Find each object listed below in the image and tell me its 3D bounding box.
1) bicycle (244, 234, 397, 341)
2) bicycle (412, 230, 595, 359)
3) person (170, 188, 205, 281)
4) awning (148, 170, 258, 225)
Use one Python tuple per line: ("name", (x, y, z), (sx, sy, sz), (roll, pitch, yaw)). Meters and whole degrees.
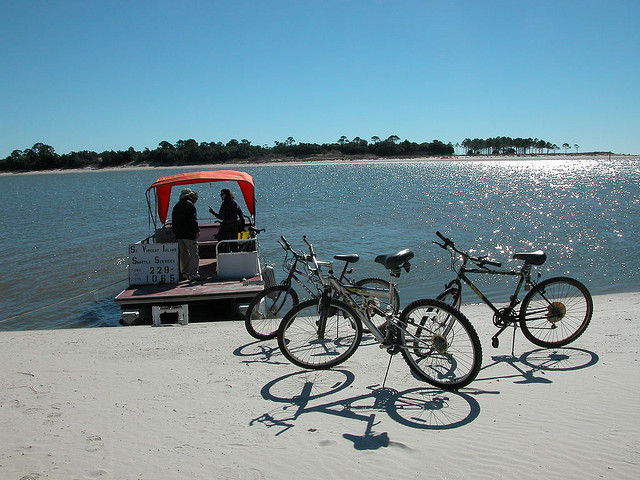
("bicycle", (0.030, 0.764, 7.359), (2.429, 1.264, 1.010), (-7, -27, 25))
("bicycle", (2.210, 0.794, 6.581), (2.824, 1.443, 1.193), (-8, 15, -19))
("person", (-3.043, -0.097, 11.787), (0.618, 2.064, 0.798), (-4, 7, -15))
("awning", (-3.291, -1.575, 14.445), (2.593, 1.123, 1.663), (-4, 11, -13))
